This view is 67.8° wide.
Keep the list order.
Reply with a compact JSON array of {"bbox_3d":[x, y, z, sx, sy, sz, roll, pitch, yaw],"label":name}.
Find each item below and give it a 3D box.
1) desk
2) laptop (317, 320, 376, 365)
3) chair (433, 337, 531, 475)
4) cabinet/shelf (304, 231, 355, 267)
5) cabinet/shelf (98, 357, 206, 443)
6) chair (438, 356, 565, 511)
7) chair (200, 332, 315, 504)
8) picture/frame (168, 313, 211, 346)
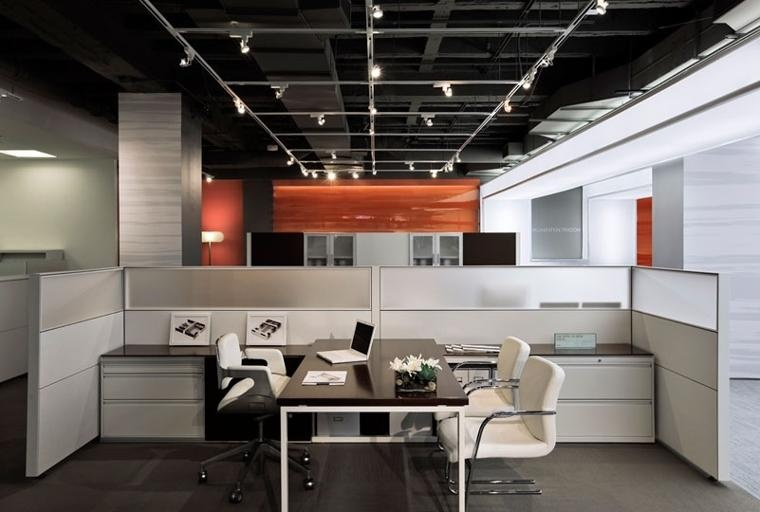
[{"bbox_3d":[-0.066,1.747,6.028,1.823,1.279,1.579,-1,6,1],"label":"desk"},{"bbox_3d":[-0.376,0.991,6.286,0.486,0.317,0.536,1,-1,-11],"label":"laptop"},{"bbox_3d":[1.117,1.409,6.134,1.043,1.208,0.984,0,0,3],"label":"chair"},{"bbox_3d":[-1.008,-0.124,10.726,0.659,0.571,0.248,0,-2,-5],"label":"cabinet/shelf"},{"bbox_3d":[-2.701,1.659,6.648,1.057,0.735,0.362,0,-2,1],"label":"cabinet/shelf"},{"bbox_3d":[1.024,1.803,6.242,1.486,1.718,1.334,1,-6,1],"label":"chair"},{"bbox_3d":[-1.643,1.750,6.713,1.579,1.747,1.568,0,-3,1],"label":"chair"},{"bbox_3d":[-2.391,0.933,7.061,0.437,0.356,0.031,3,-24,0],"label":"picture/frame"}]
